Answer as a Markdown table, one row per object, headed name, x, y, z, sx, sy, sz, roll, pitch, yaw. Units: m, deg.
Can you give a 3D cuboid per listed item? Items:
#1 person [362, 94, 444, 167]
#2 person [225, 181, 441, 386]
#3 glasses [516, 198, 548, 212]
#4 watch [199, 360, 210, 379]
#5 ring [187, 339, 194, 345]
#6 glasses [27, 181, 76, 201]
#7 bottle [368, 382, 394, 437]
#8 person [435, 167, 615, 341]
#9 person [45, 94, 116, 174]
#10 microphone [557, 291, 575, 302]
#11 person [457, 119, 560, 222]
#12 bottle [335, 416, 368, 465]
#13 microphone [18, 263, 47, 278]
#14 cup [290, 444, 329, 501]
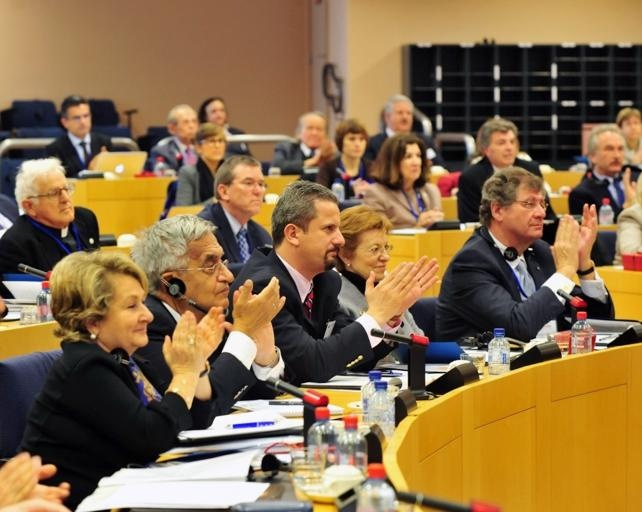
| name | x | y | z | sx | sy | sz | roll | pitch | yaw |
| --- | --- | --- | --- | --- | --- | --- | --- | --- | --- |
| person | 0.937 | -1.419 | 8.609 | 1.202 | 1.093 | 0.724 | 0 | 10 | -9 |
| person | 0.024 | 0.107 | 2.908 | 0.826 | 0.802 | 0.620 | 2 | 9 | 10 |
| glasses | 1.043 | -0.249 | 3.512 | 0.083 | 0.028 | 0.086 | 4 | -8 | -38 |
| watch | -0.376 | 0.377 | 2.238 | 0.015 | 0.041 | 0.029 | 12 | 8 | -11 |
| ring | -0.398 | 0.270 | 2.117 | 0.012 | 0.017 | 0.006 | -1 | -24 | 2 |
| glasses | -1.595 | -0.383 | 4.155 | 0.267 | 0.086 | 0.099 | -9 | 10 | -43 |
| bottle | 0.176 | 0.445 | 1.951 | 0.065 | 0.105 | 0.111 | -5 | 7 | -20 |
| person | 1.098 | 0.001 | 3.572 | 0.892 | 0.902 | 0.615 | -6 | 8 | -27 |
| person | -2.808 | -1.149 | 8.149 | 0.533 | 1.279 | 0.636 | -10 | 2 | 21 |
| microphone | 1.136 | 0.200 | 3.243 | 0.018 | 0.013 | 0.068 | 1 | 20 | -28 |
| person | 1.635 | -0.668 | 6.124 | 0.779 | 1.053 | 0.799 | -5 | 15 | 6 |
| bottle | 0.068 | 0.421 | 1.585 | 0.073 | 0.139 | 0.171 | -2 | 7 | 2 |
| microphone | -1.589 | 0.091 | 3.813 | 0.140 | 0.032 | 0.035 | 14 | 49 | 1 |
| cup | -0.033 | 0.506 | 1.583 | 0.091 | 0.150 | 0.087 | 0 | -7 | 0 |
